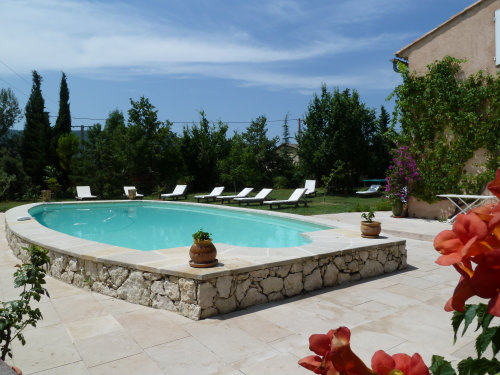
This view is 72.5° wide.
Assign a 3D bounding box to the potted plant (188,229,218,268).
[{"bbox_3d":[-0.658,0.860,4.958,0.396,0.471,0.397,0,6,-5],"label":"potted plant"}]

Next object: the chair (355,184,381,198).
[{"bbox_3d":[7.652,0.285,21.916,1.566,0.749,0.914,-1,-2,-36],"label":"chair"}]

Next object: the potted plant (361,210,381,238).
[{"bbox_3d":[2.419,0.719,6.849,0.404,0.552,0.404,5,5,34],"label":"potted plant"}]
